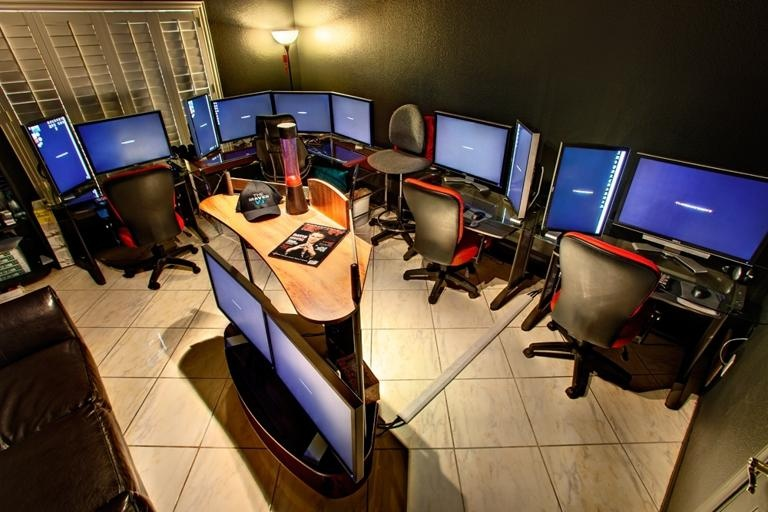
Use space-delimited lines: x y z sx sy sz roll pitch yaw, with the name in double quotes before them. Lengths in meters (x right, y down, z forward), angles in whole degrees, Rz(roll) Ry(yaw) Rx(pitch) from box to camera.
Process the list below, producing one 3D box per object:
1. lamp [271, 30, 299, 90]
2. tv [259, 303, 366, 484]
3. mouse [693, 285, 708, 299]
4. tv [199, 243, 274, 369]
"lamp" -1.297 -2.621 6.385 0.340 0.768 0.520 -6 31 -9
"tv" -0.498 0.974 3.316 0.359 0.865 1.252 -34 60 -19
"mouse" 2.622 0.305 3.913 0.127 0.063 0.115 20 36 31
"tv" -1.253 0.462 4.000 0.104 0.751 0.994 -28 51 -30
